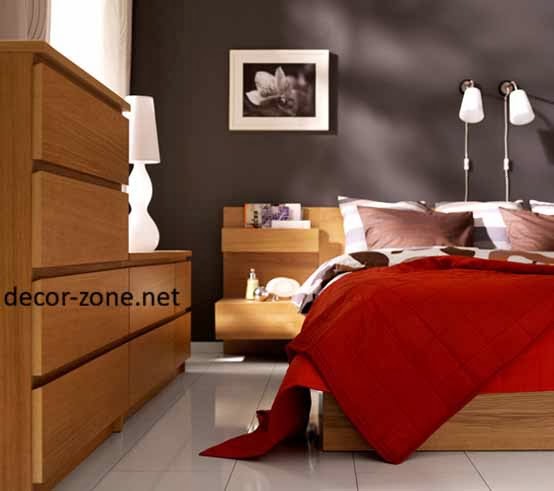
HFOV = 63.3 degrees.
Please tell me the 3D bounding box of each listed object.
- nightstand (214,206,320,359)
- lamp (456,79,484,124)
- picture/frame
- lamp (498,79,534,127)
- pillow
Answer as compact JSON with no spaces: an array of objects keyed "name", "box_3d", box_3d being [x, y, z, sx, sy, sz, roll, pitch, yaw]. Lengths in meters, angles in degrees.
[{"name":"nightstand","box_3d":[-0.064,0.243,3.278,0.698,1.072,0.348,3,6,1]},{"name":"lamp","box_3d":[1.456,-1.096,3.364,0.187,0.327,0.438,-2,0,26]},{"name":"picture/frame","box_3d":[0.014,-1.206,3.494,0.767,0.468,0.041,-1,-1,3]},{"name":"lamp","box_3d":[1.814,-1.086,3.376,0.225,0.348,0.425,-2,-1,30]},{"name":"pillow","box_3d":[1.185,-0.181,3.136,1.428,0.385,0.632,-1,0,0]}]
